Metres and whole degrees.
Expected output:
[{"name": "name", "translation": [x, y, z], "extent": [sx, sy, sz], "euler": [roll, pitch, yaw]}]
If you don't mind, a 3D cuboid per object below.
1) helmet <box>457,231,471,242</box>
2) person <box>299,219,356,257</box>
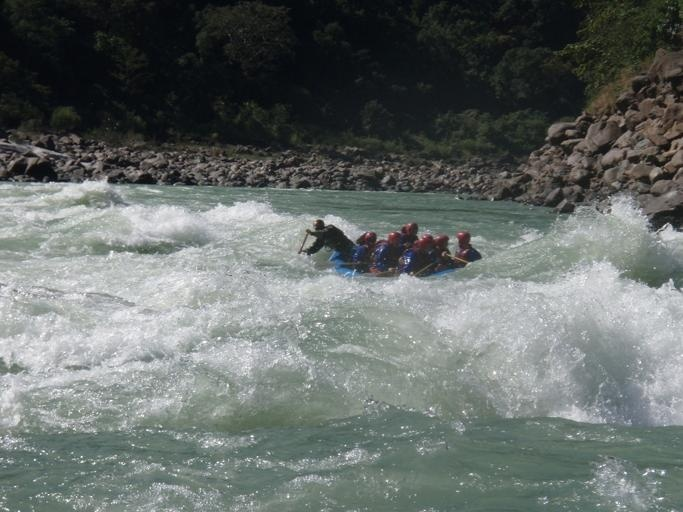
[{"name": "helmet", "translation": [3.715, -0.602, 29.630], "extent": [0.357, 0.251, 0.300], "euler": [-15, -18, 35]}, {"name": "person", "translation": [-0.339, -0.471, 29.501], "extent": [1.469, 1.125, 0.470], "euler": [32, 41, -8]}]
